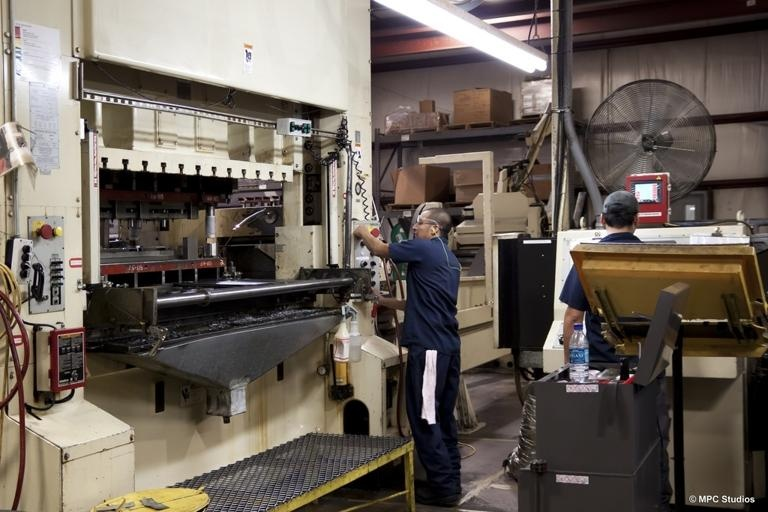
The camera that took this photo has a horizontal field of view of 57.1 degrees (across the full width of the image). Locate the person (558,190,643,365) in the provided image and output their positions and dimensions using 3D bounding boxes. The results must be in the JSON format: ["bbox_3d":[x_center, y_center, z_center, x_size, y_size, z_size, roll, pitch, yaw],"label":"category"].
[{"bbox_3d":[1.168,0.135,3.832,0.406,0.973,0.577,0,4,19],"label":"person"}]

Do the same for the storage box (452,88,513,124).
[{"bbox_3d":[1.380,-2.075,9.884,0.844,0.447,0.850,-2,8,-8],"label":"storage box"}]

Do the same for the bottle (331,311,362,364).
[{"bbox_3d":[-0.221,0.537,4.569,0.230,0.358,0.202,-4,4,-30],"label":"bottle"}]

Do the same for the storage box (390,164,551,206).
[{"bbox_3d":[1.148,-0.992,9.299,2.017,0.627,3.109,-1,4,13],"label":"storage box"}]

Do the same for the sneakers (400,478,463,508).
[{"bbox_3d":[0.319,1.563,4.647,0.383,0.191,0.171,7,7,28],"label":"sneakers"}]
